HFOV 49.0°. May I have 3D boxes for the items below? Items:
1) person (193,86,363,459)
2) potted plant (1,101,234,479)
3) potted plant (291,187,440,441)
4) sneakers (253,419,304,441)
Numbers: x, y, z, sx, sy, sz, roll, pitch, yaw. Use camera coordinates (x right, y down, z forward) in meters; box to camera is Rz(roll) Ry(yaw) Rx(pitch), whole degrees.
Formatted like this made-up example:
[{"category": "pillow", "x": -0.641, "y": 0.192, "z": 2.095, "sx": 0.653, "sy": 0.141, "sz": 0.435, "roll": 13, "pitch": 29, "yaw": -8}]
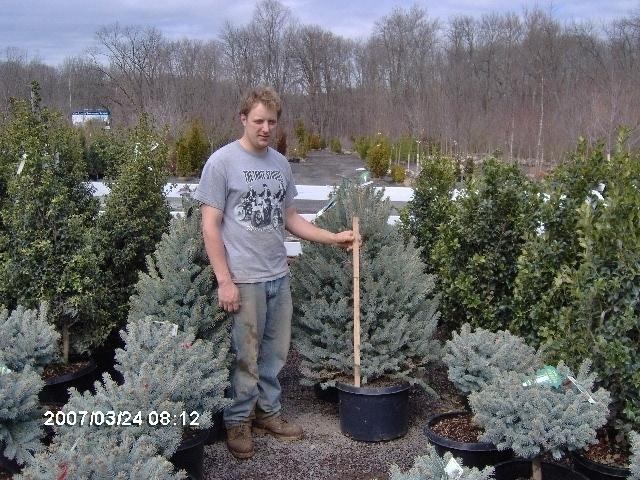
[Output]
[{"category": "person", "x": -0.511, "y": 0.414, "z": 6.188, "sx": 1.030, "sy": 2.793, "sz": 0.407, "roll": -10, "pitch": 13, "yaw": -31}, {"category": "potted plant", "x": -1.625, "y": 0.474, "z": 7.546, "sx": 2.529, "sy": 3.361, "sz": 1.878, "roll": 2, "pitch": 15, "yaw": -5}, {"category": "potted plant", "x": 0.538, "y": 0.584, "z": 7.187, "sx": 1.604, "sy": 3.085, "sz": 1.850, "roll": 1, "pitch": 3, "yaw": 18}, {"category": "sneakers", "x": -0.383, "y": 1.703, "z": 6.487, "sx": 0.420, "sy": 0.243, "sz": 0.193, "roll": 3, "pitch": 9, "yaw": 12}]
